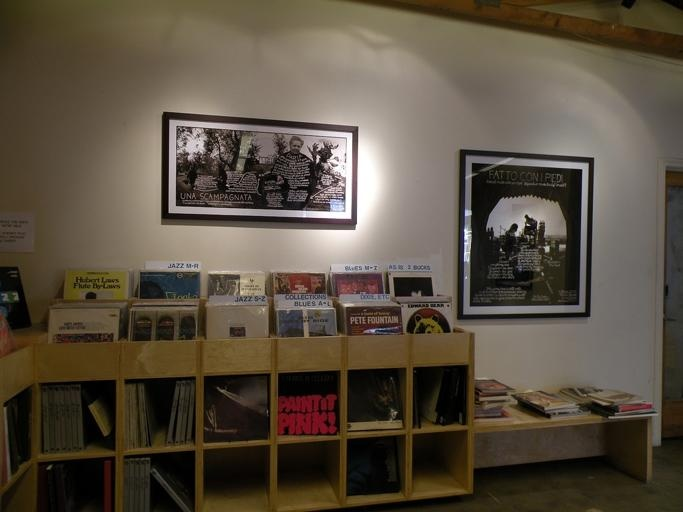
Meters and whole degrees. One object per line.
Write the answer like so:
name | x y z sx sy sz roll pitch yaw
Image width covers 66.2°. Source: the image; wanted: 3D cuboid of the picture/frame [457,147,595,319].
picture/frame | 1.374 -0.180 4.027 1.262 1.456 0.054 1 -3 -14
